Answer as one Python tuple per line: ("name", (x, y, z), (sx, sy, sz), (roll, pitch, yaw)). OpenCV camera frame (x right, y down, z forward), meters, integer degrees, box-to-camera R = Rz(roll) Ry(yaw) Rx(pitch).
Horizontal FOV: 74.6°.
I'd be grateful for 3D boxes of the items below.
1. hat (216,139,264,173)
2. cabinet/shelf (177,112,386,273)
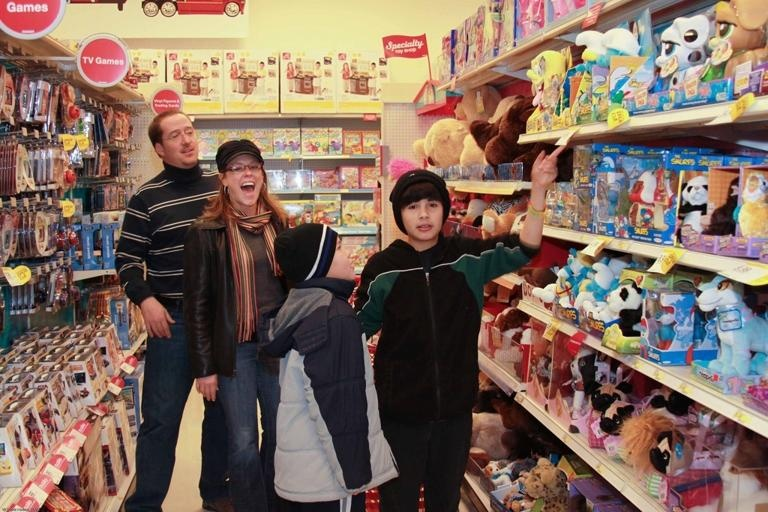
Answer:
("hat", (-0.804, -0.552, 2.738), (0.174, 0.117, 0.224), (-2, 7, -14))
("cabinet/shelf", (-0.816, -0.631, 4.466), (2.108, 1.938, 0.697), (-1, 7, 0))
